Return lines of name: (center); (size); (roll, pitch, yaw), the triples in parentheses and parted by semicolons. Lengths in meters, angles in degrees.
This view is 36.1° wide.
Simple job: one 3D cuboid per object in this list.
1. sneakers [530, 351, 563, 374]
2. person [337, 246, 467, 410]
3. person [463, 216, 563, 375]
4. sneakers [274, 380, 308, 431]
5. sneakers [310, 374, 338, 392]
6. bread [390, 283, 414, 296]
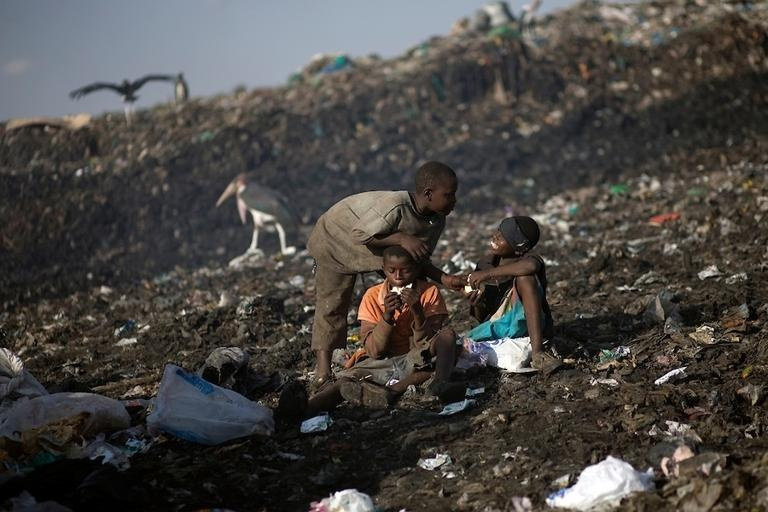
sneakers: (1.468, 0.973, 10.723); (0.272, 0.129, 0.158); (-1, 27, 43)
person: (0.102, 0.606, 10.891); (1.132, 1.389, 1.430); (-4, 9, -9)
person: (1.244, 0.315, 11.065); (0.849, 1.349, 1.470); (-2, 4, -26)
sneakers: (-0.818, 1.341, 10.695); (0.257, 0.435, 0.177); (21, -3, 2)
sneakers: (-0.569, 1.195, 10.987); (0.314, 0.129, 0.115); (-25, -21, 22)
bread: (0.167, 0.315, 10.815); (0.203, 0.103, 0.191); (-14, 3, -4)
